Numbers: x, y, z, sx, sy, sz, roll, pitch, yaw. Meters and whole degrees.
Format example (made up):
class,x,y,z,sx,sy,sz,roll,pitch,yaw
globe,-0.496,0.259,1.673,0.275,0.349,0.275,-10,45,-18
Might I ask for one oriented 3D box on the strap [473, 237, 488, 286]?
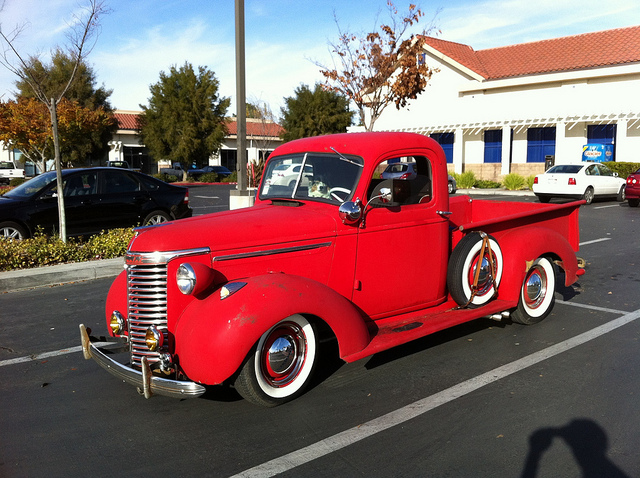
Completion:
class,x,y,z,sx,sy,sz,roll,pitch,yaw
strap,1.844,0.248,5.599,0.060,0.560,0.082,19,-14,-4

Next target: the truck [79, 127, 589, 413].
class,x,y,z,sx,sy,sz,roll,pitch,yaw
truck,0.750,0.248,5.802,5.819,2.231,2.624,-5,3,-38
